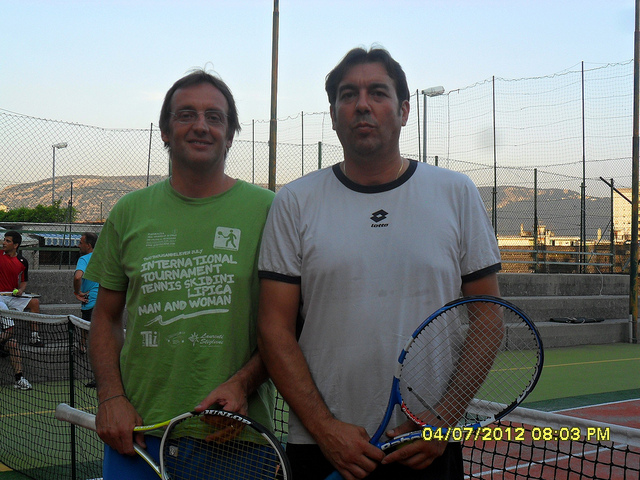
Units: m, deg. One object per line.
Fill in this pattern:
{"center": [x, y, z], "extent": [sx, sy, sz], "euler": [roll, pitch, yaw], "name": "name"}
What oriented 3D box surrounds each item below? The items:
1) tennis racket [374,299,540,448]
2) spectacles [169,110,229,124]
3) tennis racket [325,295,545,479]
{"center": [0.585, 0.555, 2.434], "extent": [0.727, 0.628, 0.387], "euler": [-1, 1, -9], "name": "tennis racket"}
{"center": [-0.598, -0.609, 2.777], "extent": [0.244, 0.070, 0.042], "euler": [-1, 1, -7], "name": "spectacles"}
{"center": [0.577, 0.562, 2.426], "extent": [0.744, 0.661, 0.402], "euler": [-1, 1, -9], "name": "tennis racket"}
